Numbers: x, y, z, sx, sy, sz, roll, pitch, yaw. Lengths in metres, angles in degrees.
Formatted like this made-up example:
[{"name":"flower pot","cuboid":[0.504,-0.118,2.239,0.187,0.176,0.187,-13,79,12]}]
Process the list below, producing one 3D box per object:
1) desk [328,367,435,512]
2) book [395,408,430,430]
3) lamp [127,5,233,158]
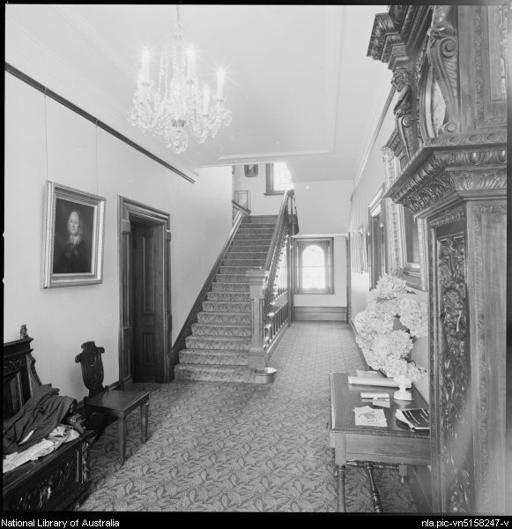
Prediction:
[{"name":"desk","cuboid":[0.731,1.090,2.370,0.569,0.643,0.770,-1,0,12]},{"name":"book","cuboid":[0.856,0.842,2.138,0.109,0.039,0.123,3,10,7]},{"name":"lamp","cuboid":[-0.680,-1.538,3.507,0.754,1.596,0.865,0,-2,2]}]
